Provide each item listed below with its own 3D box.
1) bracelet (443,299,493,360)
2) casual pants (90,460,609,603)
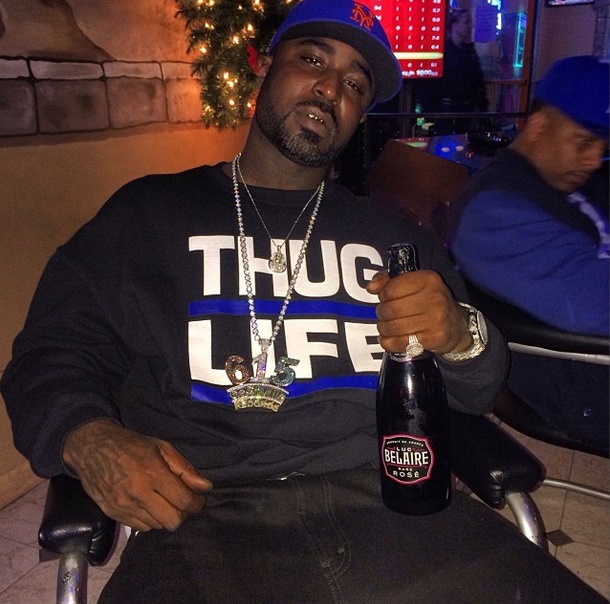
[{"bbox_3d":[0.413,0.070,1.552,0.183,0.132,0.081,-15,-16,38],"label":"bracelet"},{"bbox_3d":[0.069,0.543,1.249,0.996,0.108,0.458,-6,17,-8],"label":"casual pants"}]
